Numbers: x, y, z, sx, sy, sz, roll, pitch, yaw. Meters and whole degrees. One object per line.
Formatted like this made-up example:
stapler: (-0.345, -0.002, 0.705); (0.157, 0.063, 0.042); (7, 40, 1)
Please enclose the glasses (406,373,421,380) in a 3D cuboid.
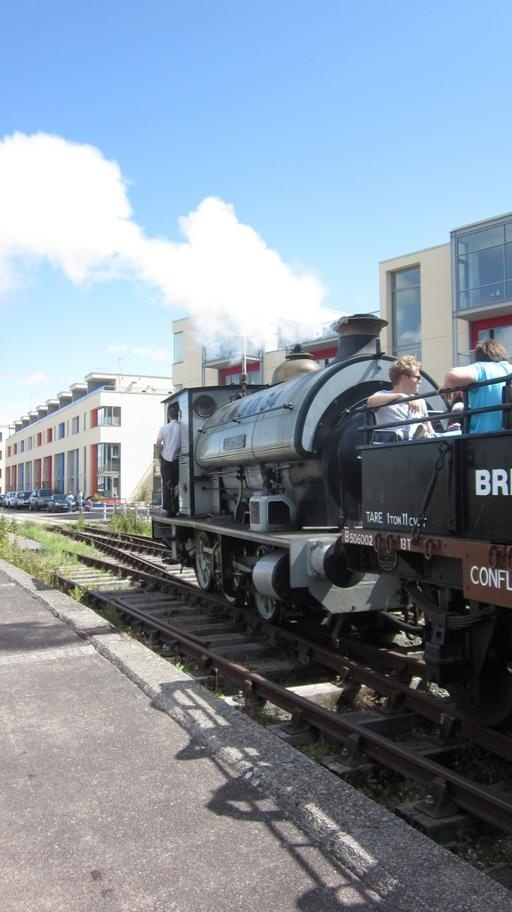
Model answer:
glasses: (1.123, -0.565, 4.945); (0.092, 0.031, 0.098); (3, -11, -22)
